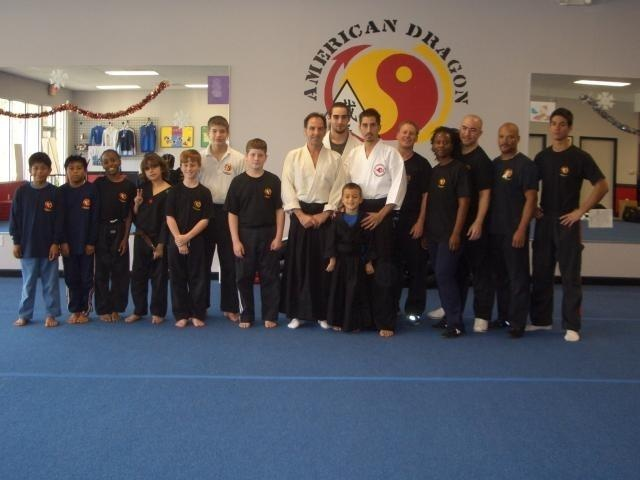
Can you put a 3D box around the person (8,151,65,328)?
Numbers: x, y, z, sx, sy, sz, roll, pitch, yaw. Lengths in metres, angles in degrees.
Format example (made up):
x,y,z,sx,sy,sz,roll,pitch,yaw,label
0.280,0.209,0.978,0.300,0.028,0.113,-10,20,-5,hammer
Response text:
x,y,z,sx,sy,sz,roll,pitch,yaw,label
-2.676,0.005,5.782,0.499,1.616,0.550,0,15,-1,person

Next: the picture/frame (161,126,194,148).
x,y,z,sx,sy,sz,roll,pitch,yaw,label
-2.732,-1.993,11.811,0.689,0.402,0.025,2,3,28,picture/frame

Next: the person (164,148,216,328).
x,y,z,sx,sy,sz,roll,pitch,yaw,label
-1.218,-0.011,5.769,0.427,1.610,0.409,-3,15,-12,person

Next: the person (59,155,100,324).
x,y,z,sx,sy,sz,roll,pitch,yaw,label
-2.291,0.008,5.874,0.355,1.600,0.454,-6,16,-22,person

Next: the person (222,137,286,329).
x,y,z,sx,sy,sz,roll,pitch,yaw,label
-0.611,-0.056,5.772,0.546,1.718,0.475,-2,15,-9,person
